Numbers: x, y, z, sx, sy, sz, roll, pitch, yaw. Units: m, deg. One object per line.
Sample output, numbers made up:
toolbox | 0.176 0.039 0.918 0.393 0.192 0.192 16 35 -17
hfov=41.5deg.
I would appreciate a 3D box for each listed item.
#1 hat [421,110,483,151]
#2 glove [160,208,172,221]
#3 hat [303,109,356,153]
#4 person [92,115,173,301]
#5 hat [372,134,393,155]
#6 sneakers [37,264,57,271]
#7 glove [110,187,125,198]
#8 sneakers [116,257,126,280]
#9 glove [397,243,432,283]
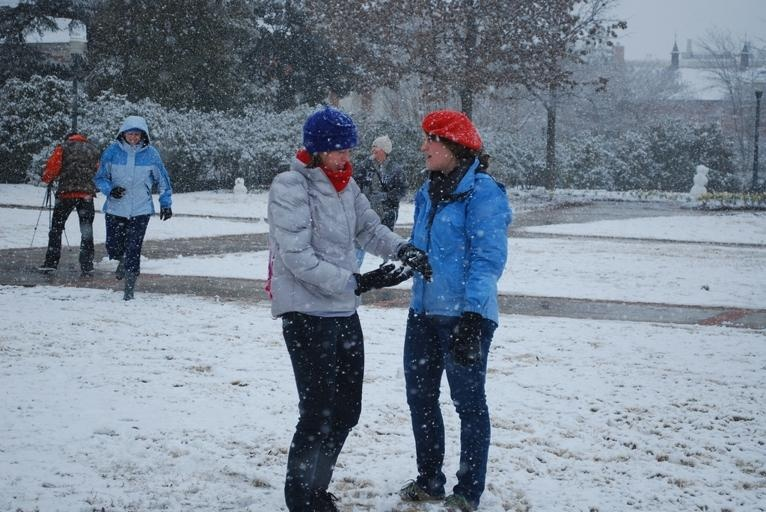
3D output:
hat | 0.985 -1.712 14.557 0.686 0.344 0.579 16 10 -33
glove | -4.138 -0.802 19.215 0.221 0.265 0.283 -2 17 -20
hat | -0.747 -1.860 14.508 0.737 0.576 0.765 -11 20 -28
person | -4.746 -0.902 19.012 1.361 3.436 0.846 0 3 -17
hat | -0.011 -2.228 20.386 0.416 0.437 0.325 -14 -5 7
sneakers | -6.872 0.244 20.544 0.358 0.185 0.137 8 16 19
glove | -4.929 -1.164 18.674 0.255 0.209 0.084 1 3 -16
sneakers | -4.986 0.243 19.132 0.175 0.436 0.180 16 36 -5
glove | 0.436 0.013 14.730 0.461 0.295 0.804 11 4 -7
